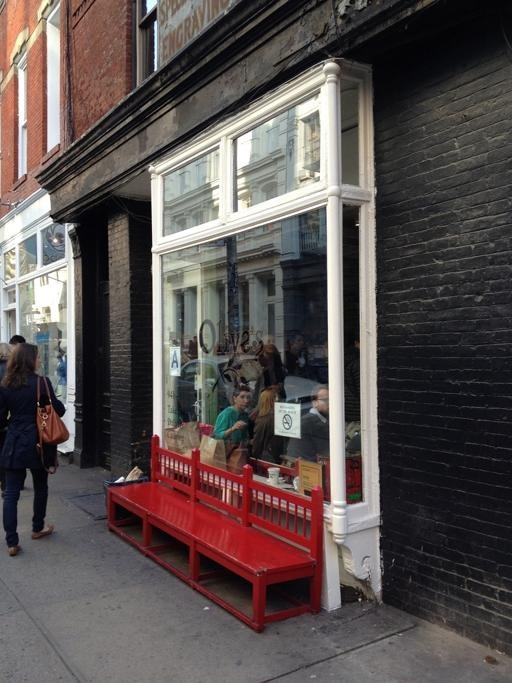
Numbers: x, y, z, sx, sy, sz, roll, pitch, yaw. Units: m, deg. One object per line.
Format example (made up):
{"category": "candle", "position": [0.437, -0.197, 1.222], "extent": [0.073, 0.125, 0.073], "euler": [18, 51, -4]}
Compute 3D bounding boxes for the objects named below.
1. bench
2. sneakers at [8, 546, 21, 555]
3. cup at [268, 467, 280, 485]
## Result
{"category": "bench", "position": [-0.127, 1.377, 4.676], "extent": [0.500, 0.855, 2.195], "euler": [3, -1, -39]}
{"category": "sneakers", "position": [-2.018, 1.755, 4.860], "extent": [0.045, 0.054, 0.135], "euler": [2, 3, -6]}
{"category": "cup", "position": [0.137, 1.035, 4.512], "extent": [0.103, 0.131, 0.115], "euler": [-1, 5, -27]}
